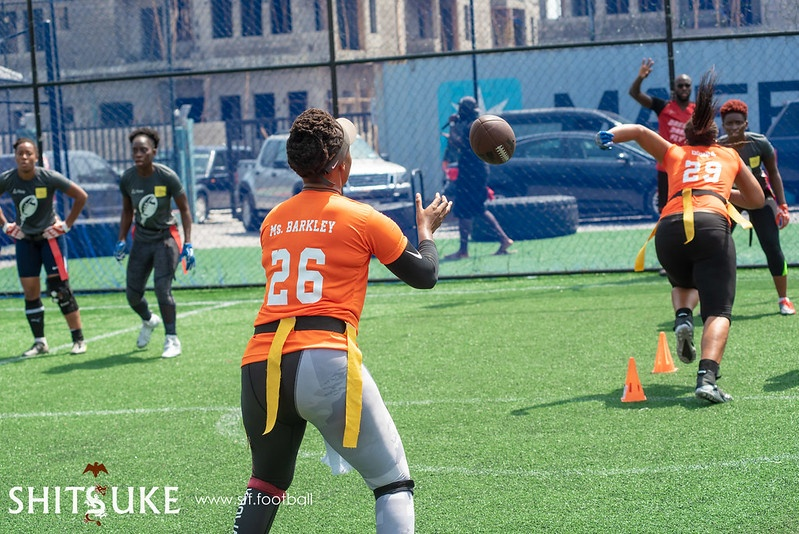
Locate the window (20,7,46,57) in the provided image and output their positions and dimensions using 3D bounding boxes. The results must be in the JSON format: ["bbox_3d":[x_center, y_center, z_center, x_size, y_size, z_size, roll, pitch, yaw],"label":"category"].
[{"bbox_3d":[-5.170,-3.369,15.561,0.144,0.561,0.579,2,0,-27],"label":"window"}]

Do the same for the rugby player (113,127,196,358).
[{"bbox_3d":[-2.805,-0.279,12.390,0.824,2.544,0.567,2,7,28],"label":"rugby player"}]

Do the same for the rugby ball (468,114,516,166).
[{"bbox_3d":[0.883,-1.177,10.041,0.359,0.457,0.344,-27,22,12],"label":"rugby ball"}]
